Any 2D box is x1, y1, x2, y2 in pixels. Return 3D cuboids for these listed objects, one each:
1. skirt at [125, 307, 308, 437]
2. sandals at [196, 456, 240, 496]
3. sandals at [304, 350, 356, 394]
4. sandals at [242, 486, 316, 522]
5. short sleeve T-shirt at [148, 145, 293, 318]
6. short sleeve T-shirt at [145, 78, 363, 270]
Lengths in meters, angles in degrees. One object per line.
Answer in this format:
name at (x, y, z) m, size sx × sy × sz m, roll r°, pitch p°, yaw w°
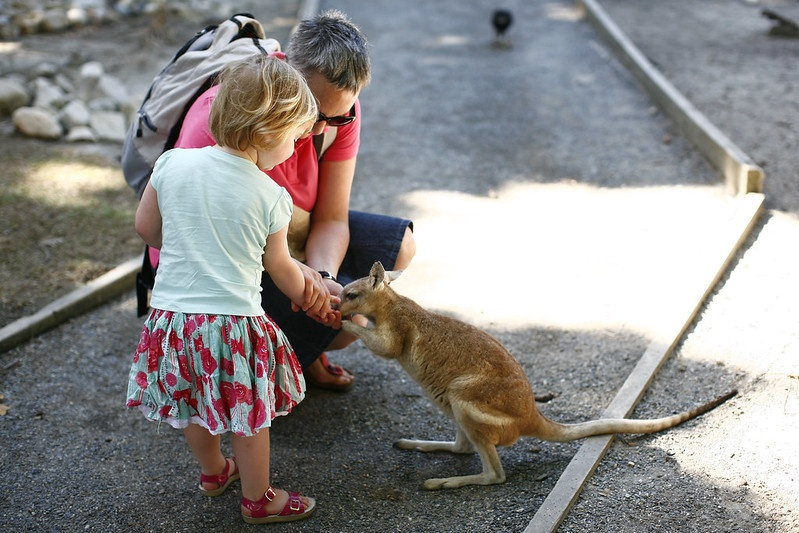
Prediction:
skirt at (-1.004, 0.361, 4.360) m, size 0.978 × 0.614 × 0.660 m, roll 5°, pitch 12°, yaw -1°
sandals at (-1.062, 1.237, 4.539) m, size 0.137 × 0.124 × 0.297 m, roll 7°, pitch 18°, yaw 24°
sandals at (-0.486, 0.718, 5.346) m, size 0.389 × 0.257 × 0.146 m, roll -3°, pitch -3°, yaw 21°
sandals at (-0.664, 1.348, 4.395) m, size 0.414 × 0.187 × 0.173 m, roll -3°, pitch 26°, yaw -4°
short sleeve T-shirt at (-0.943, -0.198, 4.296) m, size 0.948 × 0.894 × 0.518 m, roll 14°, pitch 11°, yaw 22°
short sleeve T-shirt at (-0.858, -0.534, 4.339) m, size 1.037 × 0.936 × 0.528 m, roll 7°, pitch 32°, yaw -15°
